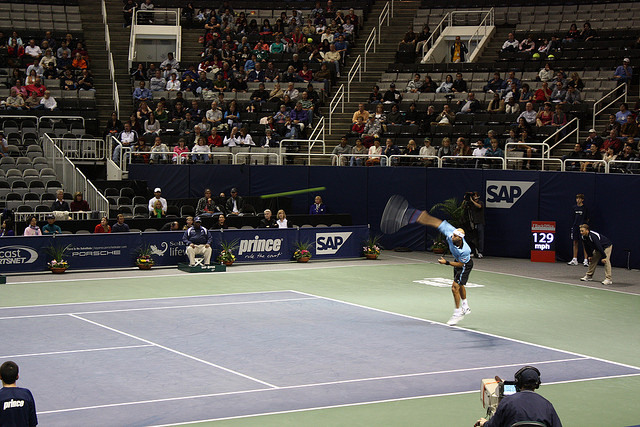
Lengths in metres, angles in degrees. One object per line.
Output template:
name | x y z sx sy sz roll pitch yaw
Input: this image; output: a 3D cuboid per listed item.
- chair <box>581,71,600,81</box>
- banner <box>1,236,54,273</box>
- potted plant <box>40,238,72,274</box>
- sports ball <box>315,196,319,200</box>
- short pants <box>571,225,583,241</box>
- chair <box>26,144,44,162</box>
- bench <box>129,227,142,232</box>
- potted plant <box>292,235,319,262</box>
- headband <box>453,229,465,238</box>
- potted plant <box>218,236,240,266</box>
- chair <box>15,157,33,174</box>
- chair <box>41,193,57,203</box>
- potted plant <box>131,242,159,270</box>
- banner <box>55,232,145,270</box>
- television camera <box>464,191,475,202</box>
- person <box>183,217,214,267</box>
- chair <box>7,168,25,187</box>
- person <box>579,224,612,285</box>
chair | 12.599 -6.405 34.184 0.665 0.711 0.713 3 12 21
banner | -10.209 1.449 25.441 1.636 1.255 0.222 -3 9 -26
potted plant | -9.381 1.561 26.100 1.254 1.248 1.041 -1 3 -8
sports ball | -0.148 -0.672 32.647 0.161 0.120 0.161 1 3 0
short pants | 9.869 0.748 28.176 0.348 0.623 0.638 3 9 17
chair | -12.573 -2.637 32.247 0.623 0.867 0.765 0 9 -11
bench | -7.234 0.679 28.712 0.461 0.163 1.134 -1 8 -13
potted plant | -0.583 1.470 29.035 0.825 0.827 0.825 3 0 11
headband | 3.736 0.552 19.796 0.230 0.086 0.171 17 5 -21
potted plant | -3.557 1.412 27.823 0.648 0.994 0.600 15 21 34
chair | -12.638 -2.073 31.324 0.608 0.777 0.613 0 1 -24
chair | -10.959 -0.623 29.528 0.385 0.359 0.314 0 1 -24
potted plant | -6.392 1.539 26.864 0.723 0.618 0.544 6 13 -7
banner | -7.900 1.398 26.431 3.512 1.487 0.124 -1 24 -12
television camera | 6.104 -0.639 29.935 0.369 0.387 0.313 1 8 4
person | -4.472 1.075 27.037 1.139 1.897 0.874 3 -2 -15
chair | -12.637 -1.531 30.285 0.593 0.797 0.695 -1 1 -28
person | 9.373 1.391 25.093 1.325 2.020 1.068 -1 2 -21
